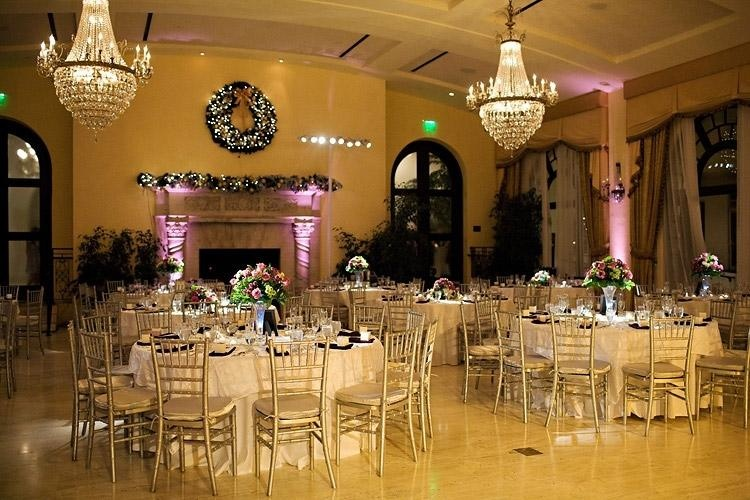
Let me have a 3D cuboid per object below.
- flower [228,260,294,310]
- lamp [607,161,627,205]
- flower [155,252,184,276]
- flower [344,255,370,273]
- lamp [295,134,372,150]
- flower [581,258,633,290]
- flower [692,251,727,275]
[{"bbox_3d":[-1.535,0.486,8.386,0.596,0.441,0.627,-3,-2,8],"label":"flower"},{"bbox_3d":[6.041,-1.704,15.350,0.286,1.009,0.525,3,-5,-30],"label":"lamp"},{"bbox_3d":[-4.768,0.370,14.309,0.603,0.538,0.644,0,-3,14],"label":"flower"},{"bbox_3d":[-0.448,0.364,14.375,0.409,0.383,0.428,2,-4,4],"label":"flower"},{"bbox_3d":[-1.049,-2.922,16.450,1.993,0.327,0.249,2,-5,-14],"label":"lamp"},{"bbox_3d":[3.635,0.395,9.551,0.566,0.440,0.591,-1,-3,6],"label":"flower"},{"bbox_3d":[6.610,0.317,12.077,0.595,0.543,0.593,2,-2,-30],"label":"flower"}]
